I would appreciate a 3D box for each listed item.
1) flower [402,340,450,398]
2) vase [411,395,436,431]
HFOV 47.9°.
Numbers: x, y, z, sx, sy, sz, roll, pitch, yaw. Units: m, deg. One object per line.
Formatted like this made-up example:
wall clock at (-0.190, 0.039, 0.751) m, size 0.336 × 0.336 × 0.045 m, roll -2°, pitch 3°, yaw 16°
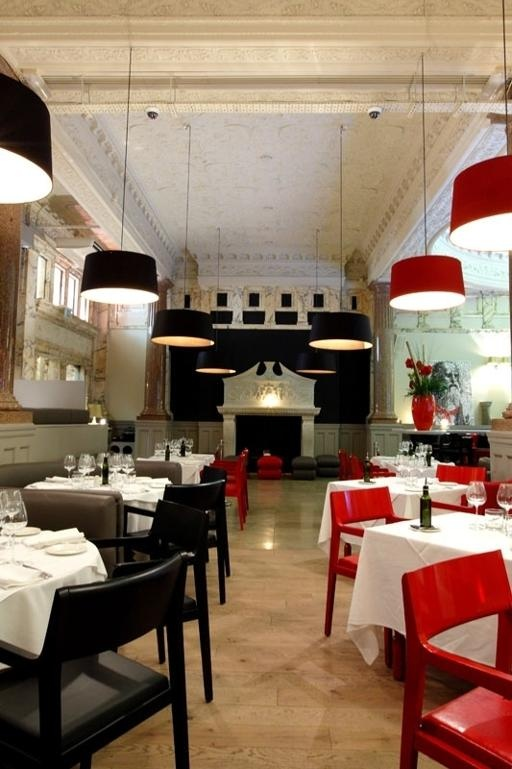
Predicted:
flower at (2.368, -0.036, 8.100) m, size 0.502 × 0.708 × 0.640 m, roll -3°, pitch 23°, yaw 31°
vase at (2.291, 0.387, 7.945) m, size 0.269 × 0.476 × 0.386 m, roll 0°, pitch -3°, yaw 12°
